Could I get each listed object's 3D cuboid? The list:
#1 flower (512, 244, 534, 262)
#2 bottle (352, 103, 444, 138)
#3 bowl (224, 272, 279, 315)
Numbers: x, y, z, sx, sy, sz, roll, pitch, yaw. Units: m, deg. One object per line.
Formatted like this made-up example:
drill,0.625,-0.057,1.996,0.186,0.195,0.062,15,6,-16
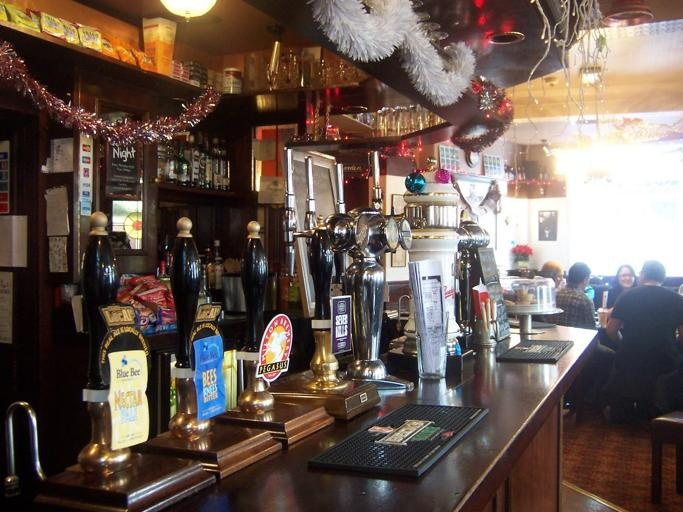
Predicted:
flower,3.958,-0.091,12.130,0.360,0.389,0.379,1,-3,1
bottle,0.420,-0.920,3.702,0.320,0.140,0.434,-7,4,-33
bowl,-0.633,0.254,3.707,0.397,0.371,0.410,0,-4,0
